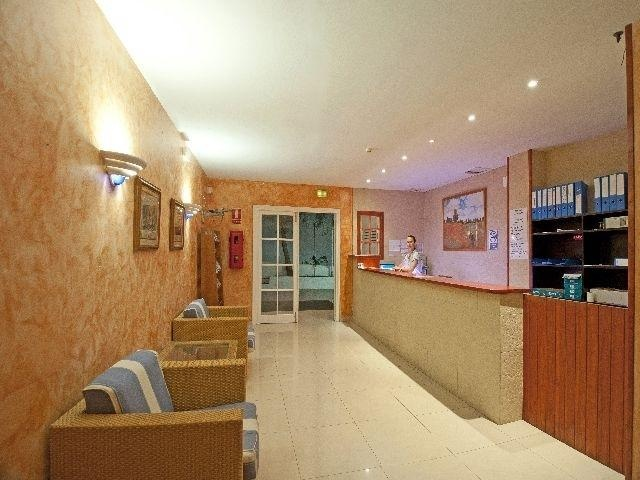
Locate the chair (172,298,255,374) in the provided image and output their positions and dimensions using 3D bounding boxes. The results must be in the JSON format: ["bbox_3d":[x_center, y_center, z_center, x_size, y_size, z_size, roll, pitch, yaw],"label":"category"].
[{"bbox_3d":[-1.170,1.065,5.121,0.780,0.746,1.121,-1,-1,-10],"label":"chair"}]

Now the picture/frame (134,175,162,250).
[{"bbox_3d":[-1.449,-0.207,3.823,0.058,0.568,0.612,-2,13,-38],"label":"picture/frame"}]

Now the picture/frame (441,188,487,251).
[{"bbox_3d":[2.356,-0.303,7.441,0.939,0.996,0.035,-5,8,-20],"label":"picture/frame"}]

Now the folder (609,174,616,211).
[{"bbox_3d":[3.179,-0.524,4.853,0.065,0.386,0.106,3,7,26],"label":"folder"}]

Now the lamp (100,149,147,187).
[{"bbox_3d":[-1.410,-0.523,3.250,0.244,0.254,0.274,0,6,2],"label":"lamp"}]

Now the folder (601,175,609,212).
[{"bbox_3d":[3.137,-0.516,4.915,0.080,0.391,0.123,3,7,29],"label":"folder"}]

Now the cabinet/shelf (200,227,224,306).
[{"bbox_3d":[-1.615,0.417,6.639,0.304,1.071,1.103,-2,6,-14],"label":"cabinet/shelf"}]

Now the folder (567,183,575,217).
[{"bbox_3d":[2.963,-0.475,5.271,0.093,0.292,0.301,2,-20,26],"label":"folder"}]

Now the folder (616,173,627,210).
[{"bbox_3d":[3.224,-0.529,4.770,0.077,0.381,0.135,1,6,16],"label":"folder"}]
